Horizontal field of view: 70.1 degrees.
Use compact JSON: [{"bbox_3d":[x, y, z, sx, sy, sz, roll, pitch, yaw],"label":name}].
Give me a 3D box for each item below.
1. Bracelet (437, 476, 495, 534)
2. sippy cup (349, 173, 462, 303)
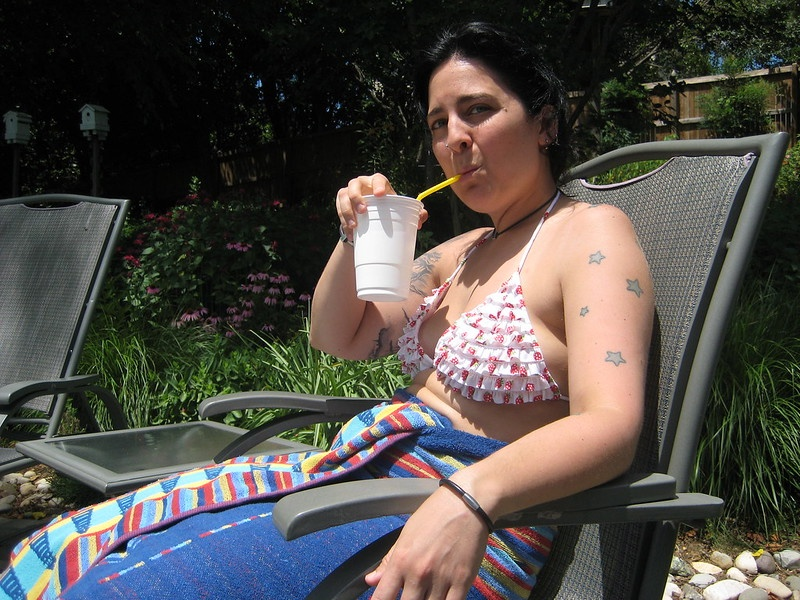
[{"bbox_3d":[0.106,0.337,0.930,0.091,0.083,0.043,1,5,9],"label":"Bracelet"},{"bbox_3d":[0.006,-0.166,1.602,0.260,0.335,0.233,4,1,-11],"label":"sippy cup"}]
